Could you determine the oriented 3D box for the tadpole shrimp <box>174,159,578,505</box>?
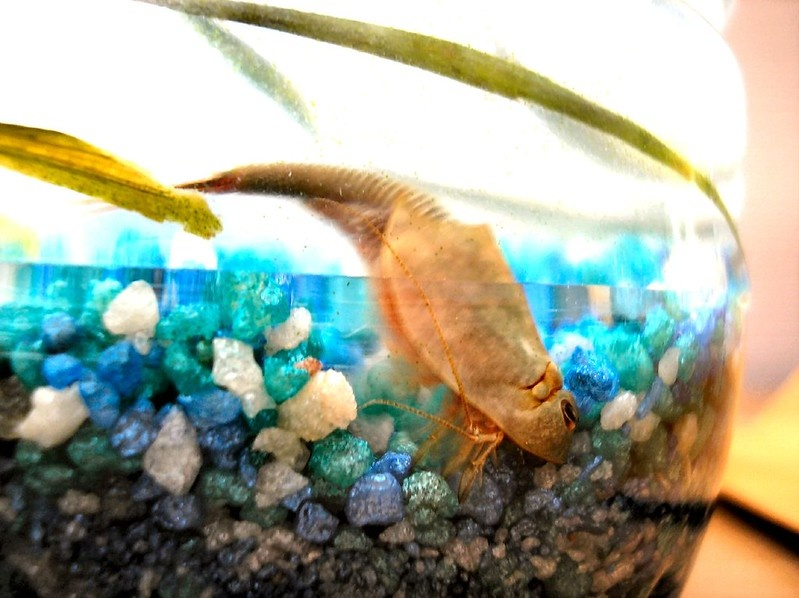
[{"bbox_3d":[-0.022,0.033,0.944,0.487,0.171,0.318,54,21,-3],"label":"tadpole shrimp"}]
